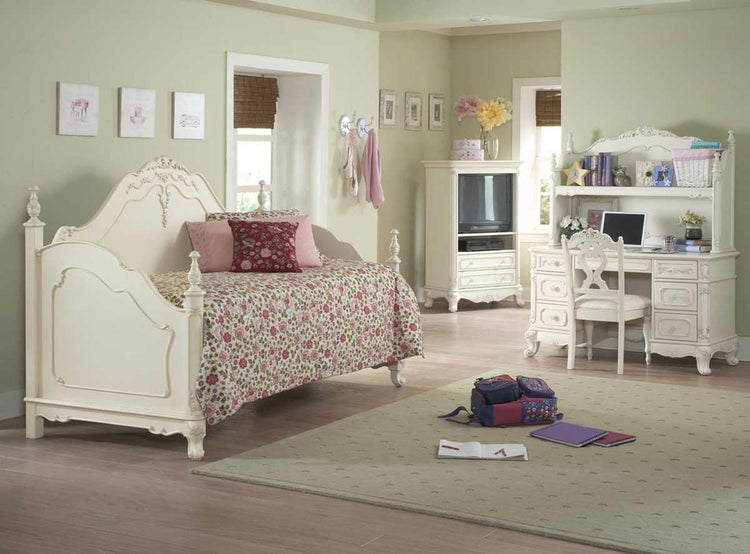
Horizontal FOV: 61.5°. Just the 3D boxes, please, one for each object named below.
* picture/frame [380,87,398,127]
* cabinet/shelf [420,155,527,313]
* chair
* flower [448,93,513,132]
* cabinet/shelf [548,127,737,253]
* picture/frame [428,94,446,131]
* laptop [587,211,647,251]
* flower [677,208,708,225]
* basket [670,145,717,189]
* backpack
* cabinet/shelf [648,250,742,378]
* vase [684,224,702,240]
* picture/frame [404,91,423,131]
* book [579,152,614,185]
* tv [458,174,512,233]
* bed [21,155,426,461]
[{"bbox_3d":[0.169,-1.922,7.284,0.036,0.411,0.388,7,14,31],"label":"picture/frame"},{"bbox_3d":[1.195,-0.495,7.527,1.135,1.733,0.558,-2,8,-15],"label":"cabinet/shelf"},{"bbox_3d":[1.928,0.160,5.224,0.699,1.114,0.865,3,8,22],"label":"chair"},{"bbox_3d":[1.289,-1.924,7.543,0.592,0.372,0.596,3,3,36],"label":"flower"},{"bbox_3d":[2.342,-0.719,5.391,1.218,0.860,0.387,3,5,35],"label":"cabinet/shelf"},{"bbox_3d":[0.787,-2.081,8.003,0.040,0.476,0.390,7,15,35],"label":"picture/frame"},{"bbox_3d":[2.084,-0.382,5.359,0.387,0.300,0.028,9,-1,37],"label":"laptop"},{"bbox_3d":[2.650,-0.485,5.253,0.207,0.124,0.159,-7,10,-44],"label":"flower"},{"bbox_3d":[2.602,-0.871,5.243,0.325,0.388,0.420,-1,8,-1],"label":"basket"},{"bbox_3d":[0.838,0.723,3.732,0.423,0.188,0.292,0,1,-9],"label":"backpack"},{"bbox_3d":[2.634,0.256,5.158,0.725,0.921,0.505,-7,10,-44],"label":"cabinet/shelf"},{"bbox_3d":[2.638,-0.370,5.250,0.132,0.113,0.126,1,3,11],"label":"vase"},{"bbox_3d":[0.457,-1.998,7.623,0.050,0.603,0.485,9,14,36],"label":"picture/frame"},{"bbox_3d":[1.980,-0.927,5.596,0.297,0.361,0.281,1,1,-13],"label":"book"},{"bbox_3d":[1.458,-0.888,7.666,0.813,0.711,0.452,4,6,36],"label":"tv"},{"bbox_3d":[-0.936,0.045,4.511,1.340,1.571,2.617,2,9,22],"label":"bed"}]
